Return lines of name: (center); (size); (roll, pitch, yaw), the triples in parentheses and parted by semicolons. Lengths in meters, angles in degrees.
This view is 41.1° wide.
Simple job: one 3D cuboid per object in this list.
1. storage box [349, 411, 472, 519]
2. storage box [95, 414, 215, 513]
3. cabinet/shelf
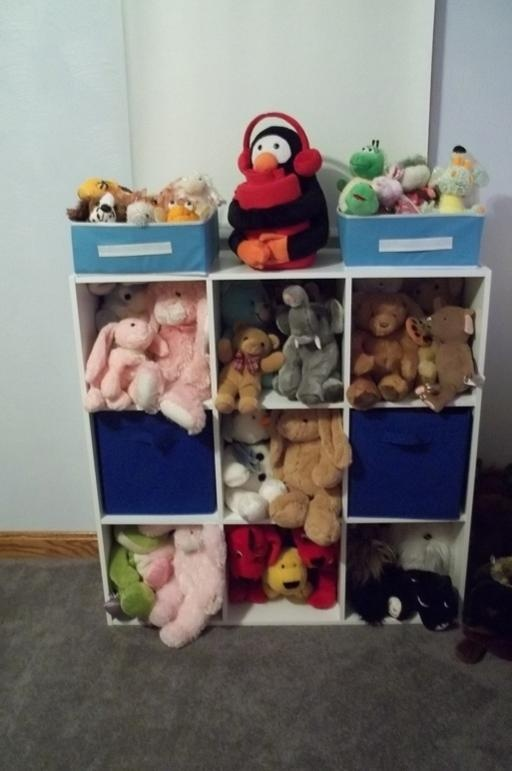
storage box: (0.362, 0.194, 1.754); (0.285, 0.252, 0.228); (1, 8, -5)
storage box: (-0.233, 0.198, 1.686); (0.268, 0.240, 0.254); (-1, 19, -2)
cabinet/shelf: (0.065, 0.110, 1.658); (1.024, 0.889, 0.319); (-1, 18, -1)
